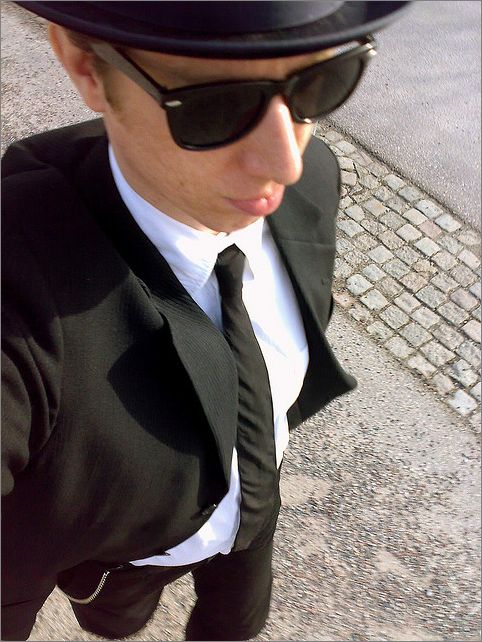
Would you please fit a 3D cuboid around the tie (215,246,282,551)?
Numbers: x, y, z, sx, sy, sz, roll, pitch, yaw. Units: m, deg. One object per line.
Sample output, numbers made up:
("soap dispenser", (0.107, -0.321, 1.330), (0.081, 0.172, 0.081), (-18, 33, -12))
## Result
("tie", (0.016, 0.155, 1.644), (0.097, 0.654, 0.169), (-2, 1, 34))
